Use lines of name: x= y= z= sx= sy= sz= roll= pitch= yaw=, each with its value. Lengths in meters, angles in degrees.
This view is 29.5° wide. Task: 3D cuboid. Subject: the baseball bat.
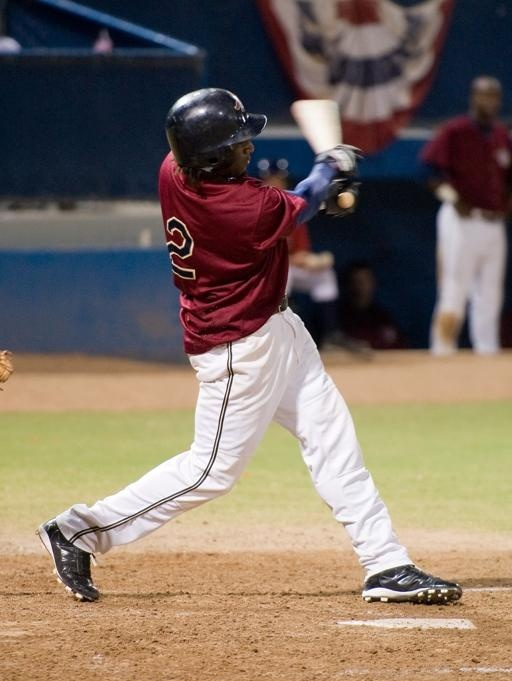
baseball bat: x=0.211 y=-0.528 z=2.729 sx=0.132 sy=0.120 sz=0.409 roll=-15 pitch=53 yaw=-5

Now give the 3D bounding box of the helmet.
helmet: x=-0.116 y=-0.532 z=2.420 sx=0.224 sy=0.190 sz=0.228 roll=7 pitch=16 yaw=21

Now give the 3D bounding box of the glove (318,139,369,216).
glove: x=0.232 y=-0.433 z=2.586 sx=0.087 sy=0.162 sz=0.142 roll=16 pitch=1 yaw=1

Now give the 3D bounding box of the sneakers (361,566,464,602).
sneakers: x=0.396 y=0.642 z=2.573 sx=0.293 sy=0.090 sz=0.092 roll=-1 pitch=-3 yaw=5

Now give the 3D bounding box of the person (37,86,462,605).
person: x=-0.006 y=0.039 z=2.556 sx=1.100 sy=1.363 sz=0.421 roll=2 pitch=18 yaw=3
